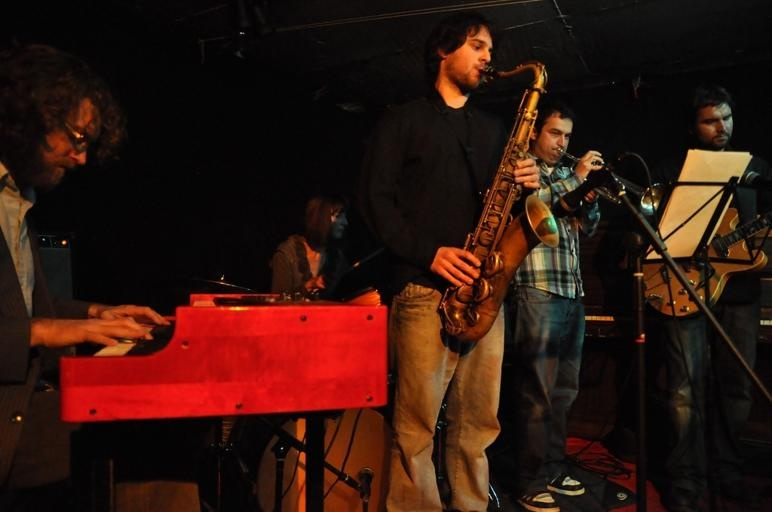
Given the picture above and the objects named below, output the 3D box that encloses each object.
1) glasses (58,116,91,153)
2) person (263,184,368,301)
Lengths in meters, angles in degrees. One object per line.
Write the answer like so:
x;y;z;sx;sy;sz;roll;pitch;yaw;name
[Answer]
-1.587;-0.619;3.553;0.044;0.133;0.131;-44;-23;0;glasses
-0.588;-0.047;5.937;0.690;1.018;0.726;6;11;1;person
